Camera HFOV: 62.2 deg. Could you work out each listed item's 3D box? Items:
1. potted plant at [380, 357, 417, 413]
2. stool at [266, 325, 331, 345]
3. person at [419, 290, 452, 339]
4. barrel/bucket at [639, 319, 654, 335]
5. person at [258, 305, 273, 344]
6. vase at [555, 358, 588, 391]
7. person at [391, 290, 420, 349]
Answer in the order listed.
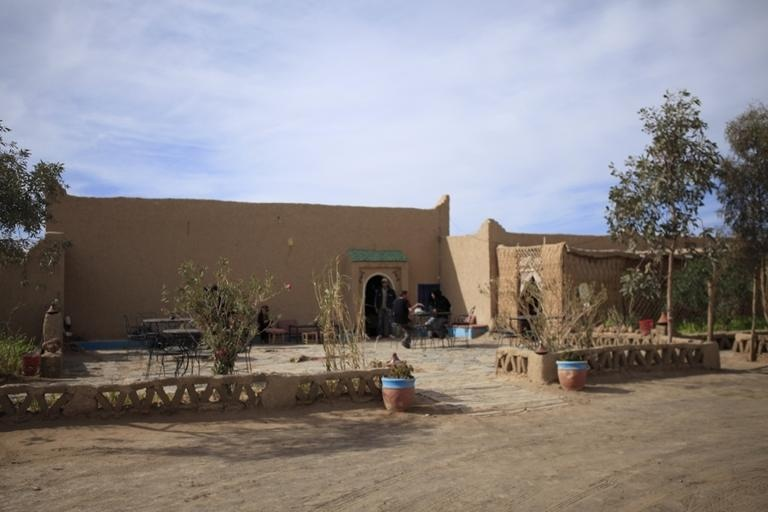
[{"bbox_3d":[0.359,2.267,11.275,0.774,1.126,0.765,-9,-12,43],"label":"potted plant"},{"bbox_3d":[-3.047,2.602,21.342,1.593,0.771,1.879,4,-12,-39],"label":"stool"},{"bbox_3d":[1.741,1.853,20.487,0.813,1.629,0.815,-1,-11,-13],"label":"person"},{"bbox_3d":[6.895,1.864,16.769,0.400,0.444,0.420,4,-10,1],"label":"barrel/bucket"},{"bbox_3d":[-3.925,2.169,20.761,0.408,1.349,2.944,-1,-9,-11],"label":"person"},{"bbox_3d":[3.605,2.268,12.260,0.517,0.428,0.504,6,-11,-28],"label":"vase"},{"bbox_3d":[0.562,1.860,18.787,0.544,1.710,1.058,-3,-7,2],"label":"person"}]
